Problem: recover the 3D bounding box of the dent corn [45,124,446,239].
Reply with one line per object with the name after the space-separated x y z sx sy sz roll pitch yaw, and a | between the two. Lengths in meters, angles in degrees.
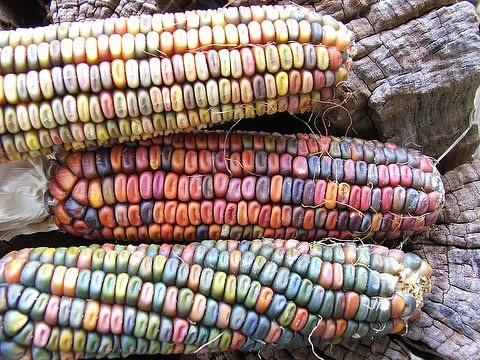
0.022 0.020 1.249 1.163 0.373 0.375 0 91 1 | dent corn
